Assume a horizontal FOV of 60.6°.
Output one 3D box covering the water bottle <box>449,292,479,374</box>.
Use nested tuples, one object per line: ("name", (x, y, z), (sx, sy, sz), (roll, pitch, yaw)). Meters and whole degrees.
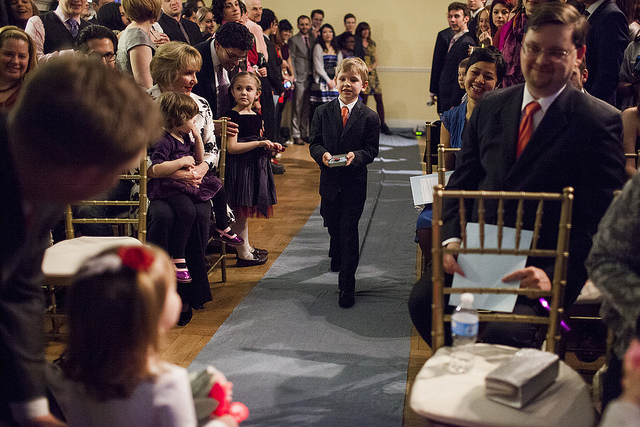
("water bottle", (0.530, 0.452, 2.013), (0.110, 0.315, 0.108), (1, 24, -1))

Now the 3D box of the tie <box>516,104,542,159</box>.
("tie", (0.900, -0.367, 2.369), (0.049, 0.290, 0.039), (18, -10, 6))

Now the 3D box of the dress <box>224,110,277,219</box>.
("dress", (-0.523, -0.356, 4.128), (0.386, 0.834, 0.315), (-1, 9, -11))

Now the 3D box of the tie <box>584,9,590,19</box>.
("tie", (1.901, -1.419, 3.899), (0.012, 0.045, 0.032), (7, 14, -3))

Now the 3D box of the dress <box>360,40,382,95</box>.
("dress", (0.964, -2.666, 9.930), (0.277, 0.990, 0.627), (4, 10, 20))

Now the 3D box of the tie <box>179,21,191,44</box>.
("tie", (-1.320, -1.774, 5.305), (0.038, 0.300, 0.040), (-16, -18, -37))

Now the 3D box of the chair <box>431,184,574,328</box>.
("chair", (0.749, 0.180, 2.201), (0.441, 0.791, 0.460), (3, 21, 12))

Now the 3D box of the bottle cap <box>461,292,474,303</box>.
("bottle cap", (0.536, 0.294, 1.982), (0.043, 0.024, 0.042), (-19, 21, -29))
